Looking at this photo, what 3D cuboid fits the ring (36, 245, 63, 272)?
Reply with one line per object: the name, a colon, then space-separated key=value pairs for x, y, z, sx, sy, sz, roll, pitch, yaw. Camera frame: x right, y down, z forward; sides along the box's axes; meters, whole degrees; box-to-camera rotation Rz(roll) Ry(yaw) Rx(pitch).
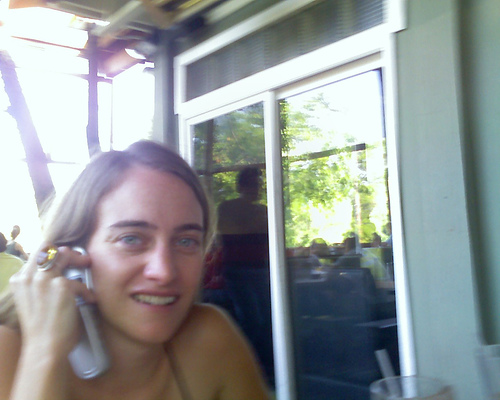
ring: x=-0.679 y=0.192 z=1.495 sx=0.072 sy=0.072 sz=0.020 roll=38 pitch=-3 yaw=21
